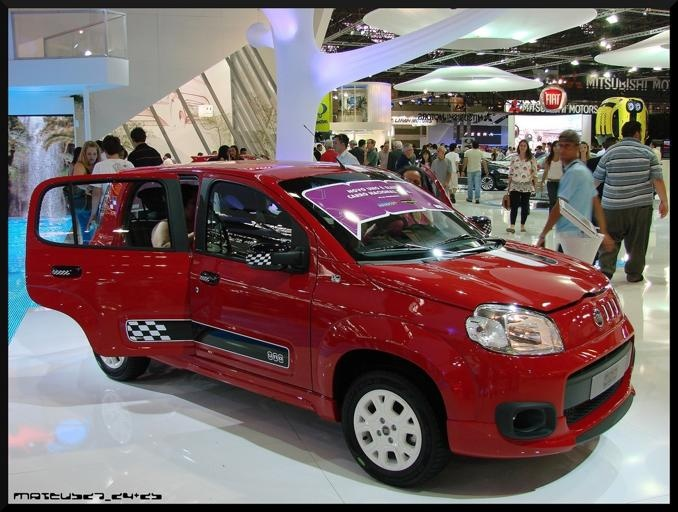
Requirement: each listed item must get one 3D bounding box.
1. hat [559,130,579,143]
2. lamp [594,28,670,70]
[{"bbox_3d":[2.532,-1.319,4.669,0.192,0.158,0.306,3,10,26],"label":"hat"},{"bbox_3d":[12.649,-8.842,18.251,2.395,1.056,3.619,5,11,36],"label":"lamp"}]
